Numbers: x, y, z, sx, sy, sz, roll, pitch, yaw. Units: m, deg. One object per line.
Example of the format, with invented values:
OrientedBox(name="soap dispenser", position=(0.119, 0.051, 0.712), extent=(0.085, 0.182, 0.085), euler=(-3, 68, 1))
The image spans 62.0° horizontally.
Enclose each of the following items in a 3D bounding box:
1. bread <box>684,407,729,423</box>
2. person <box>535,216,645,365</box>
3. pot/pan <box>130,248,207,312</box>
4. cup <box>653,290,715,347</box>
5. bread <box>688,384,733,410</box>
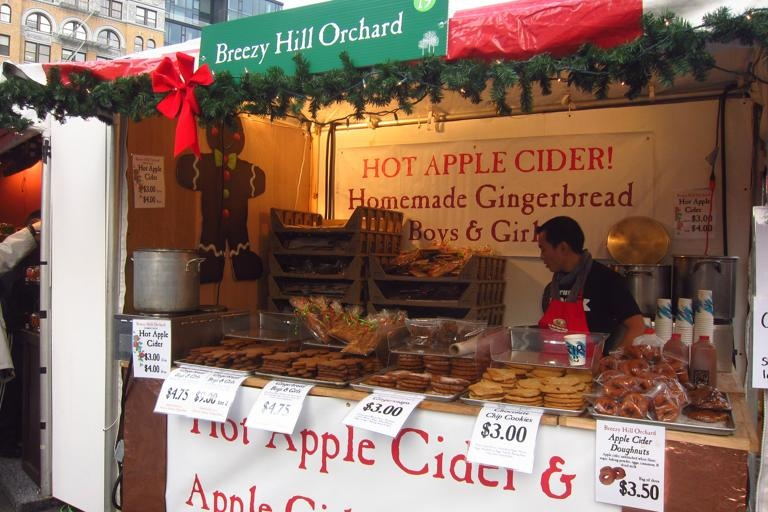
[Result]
OrientedBox(name="bread", position=(1.768, 0.866, 3.491), extent=(0.239, 0.054, 0.118), euler=(1, 5, 9))
OrientedBox(name="person", position=(1.665, 0.264, 5.098), extent=(0.675, 1.065, 0.904), euler=(-1, -15, -4))
OrientedBox(name="pot/pan", position=(-1.598, 0.158, 4.790), extent=(0.453, 0.458, 0.514), euler=(1, 0, 33))
OrientedBox(name="cup", position=(2.019, 0.394, 4.261), extent=(0.336, 0.397, 0.349), euler=(3, 12, -1))
OrientedBox(name="bread", position=(1.796, 0.794, 3.558), extent=(0.170, 0.050, 0.162), euler=(0, 3, 36))
